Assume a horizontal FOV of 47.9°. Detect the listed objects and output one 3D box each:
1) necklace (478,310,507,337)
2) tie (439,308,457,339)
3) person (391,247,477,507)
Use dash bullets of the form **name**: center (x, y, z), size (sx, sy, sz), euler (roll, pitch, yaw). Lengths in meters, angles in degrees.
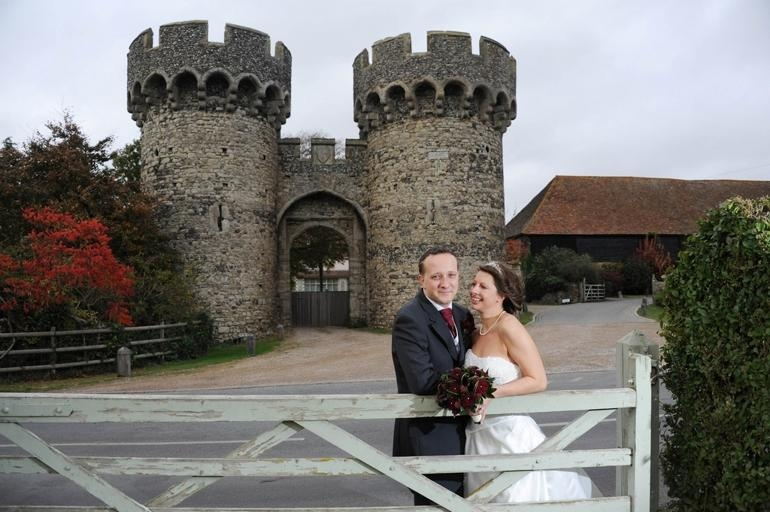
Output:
- **necklace**: center (1.821, 1.195, 14.765), size (0.347, 0.121, 0.473), euler (16, 52, 39)
- **tie**: center (1.083, 1.121, 14.508), size (0.275, 0.450, 0.109), euler (-16, 1, -39)
- **person**: center (0.769, 1.986, 14.370), size (1.304, 4.236, 0.926), euler (0, 1, -8)
